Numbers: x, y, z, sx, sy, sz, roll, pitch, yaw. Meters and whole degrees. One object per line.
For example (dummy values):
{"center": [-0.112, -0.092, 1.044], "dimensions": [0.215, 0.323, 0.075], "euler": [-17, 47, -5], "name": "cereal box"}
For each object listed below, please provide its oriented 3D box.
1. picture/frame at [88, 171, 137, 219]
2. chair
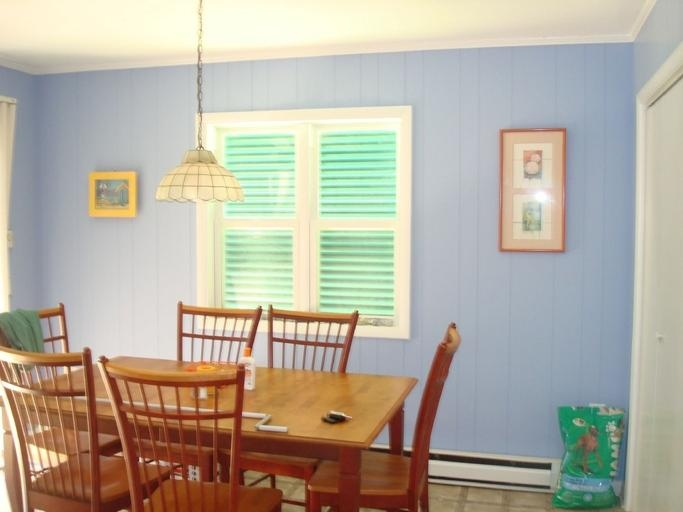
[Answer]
{"center": [-1.701, -0.469, 4.288], "dimensions": [0.309, 0.308, 0.037], "euler": [0, -1, 14], "name": "picture/frame"}
{"center": [-0.393, 0.807, 2.879], "dimensions": [1.914, 0.961, 0.904], "euler": [1, 0, 14], "name": "chair"}
